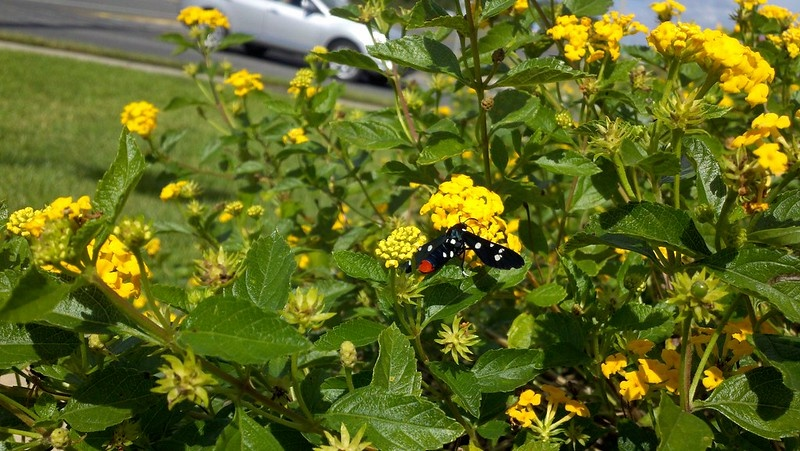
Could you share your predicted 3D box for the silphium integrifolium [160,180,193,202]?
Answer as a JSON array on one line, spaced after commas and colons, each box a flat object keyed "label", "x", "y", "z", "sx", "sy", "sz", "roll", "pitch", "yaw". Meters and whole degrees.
[{"label": "silphium integrifolium", "x": -1.596, "y": -0.228, "z": 5.006, "sx": 0.173, "sy": 0.088, "sz": 0.181, "roll": -24, "pitch": 11, "yaw": -39}]

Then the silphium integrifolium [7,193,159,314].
[{"label": "silphium integrifolium", "x": -1.487, "y": 0.127, "z": 3.486, "sx": 0.607, "sy": 0.225, "sz": 0.622, "roll": 22, "pitch": -23, "yaw": 7}]

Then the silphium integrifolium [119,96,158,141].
[{"label": "silphium integrifolium", "x": -1.953, "y": -0.793, "z": 5.312, "sx": 0.250, "sy": 0.286, "sz": 0.318, "roll": 16, "pitch": 14, "yaw": -27}]

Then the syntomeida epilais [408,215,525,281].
[{"label": "syntomeida epilais", "x": 0.352, "y": 0.082, "z": 3.727, "sx": 0.621, "sy": 0.230, "sz": 0.500, "roll": -5, "pitch": 10, "yaw": 3}]
